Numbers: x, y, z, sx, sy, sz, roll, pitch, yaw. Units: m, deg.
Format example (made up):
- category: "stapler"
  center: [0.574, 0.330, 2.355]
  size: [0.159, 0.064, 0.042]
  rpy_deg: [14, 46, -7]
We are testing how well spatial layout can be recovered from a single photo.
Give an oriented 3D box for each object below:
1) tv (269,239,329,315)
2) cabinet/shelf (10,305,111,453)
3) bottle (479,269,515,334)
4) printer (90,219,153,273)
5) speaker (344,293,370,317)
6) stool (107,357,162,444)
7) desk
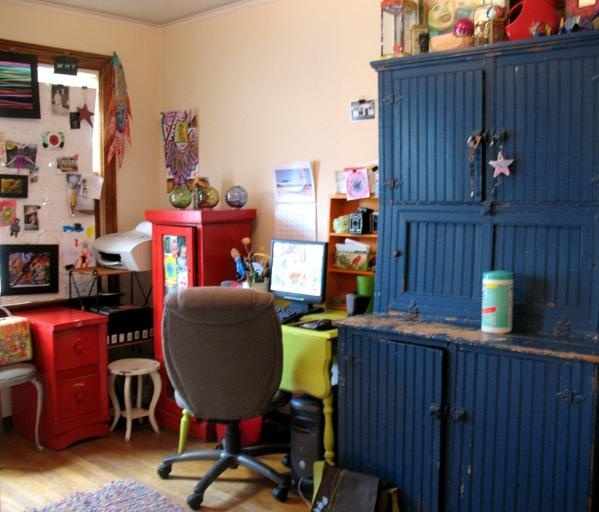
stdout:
- category: "tv"
  center: [0.001, 0.127, 3.092]
  size: [0.390, 0.468, 0.156]
  rpy_deg: [0, -3, 34]
- category: "cabinet/shelf"
  center: [-1.647, 0.764, 3.553]
  size: [0.752, 1.155, 0.550]
  rpy_deg: [-1, 1, 36]
- category: "bottle"
  center: [0.831, 0.198, 2.240]
  size: [0.125, 0.252, 0.089]
  rpy_deg: [2, 6, 19]
- category: "printer"
  center: [-1.223, -0.055, 3.715]
  size: [0.358, 0.254, 0.381]
  rpy_deg: [3, 1, 36]
- category: "speaker"
  center: [0.305, 0.256, 2.876]
  size: [0.104, 0.150, 0.115]
  rpy_deg: [-6, 9, -11]
- category: "stool"
  center: [-1.097, 0.909, 3.549]
  size: [0.419, 0.511, 0.413]
  rpy_deg: [0, 1, -42]
- category: "desk"
  center: [-0.170, 0.493, 2.909]
  size: [0.896, 0.911, 0.677]
  rpy_deg: [0, -1, 43]
